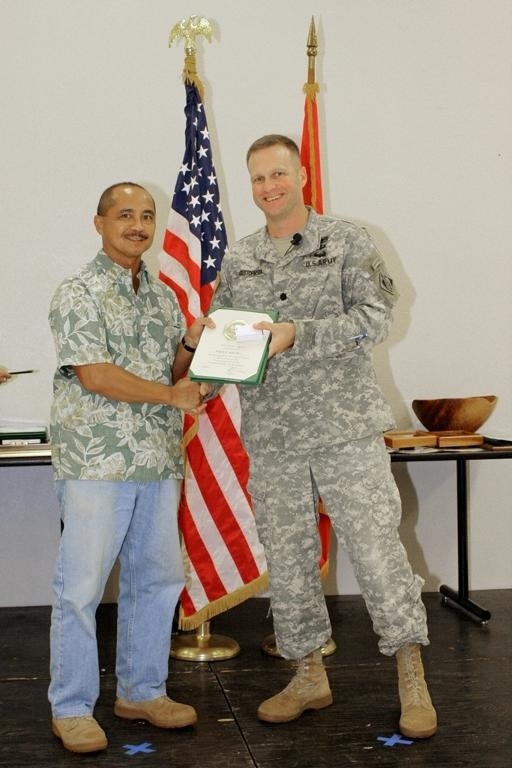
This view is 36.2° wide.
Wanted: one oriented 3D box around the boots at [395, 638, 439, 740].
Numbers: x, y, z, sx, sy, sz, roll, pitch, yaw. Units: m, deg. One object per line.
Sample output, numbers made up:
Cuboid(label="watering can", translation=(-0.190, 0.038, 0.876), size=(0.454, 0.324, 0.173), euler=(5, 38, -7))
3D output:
Cuboid(label="boots", translation=(0.434, 0.827, 2.143), size=(0.101, 0.241, 0.220), euler=(-4, 9, 11))

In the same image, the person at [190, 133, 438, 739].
Cuboid(label="person", translation=(0.167, 0.134, 2.167), size=(0.542, 1.627, 0.449), euler=(-4, 10, 9))

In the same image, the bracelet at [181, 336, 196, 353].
Cuboid(label="bracelet", translation=(-0.199, -0.106, 2.246), size=(0.048, 0.012, 0.047), euler=(23, -8, 26))

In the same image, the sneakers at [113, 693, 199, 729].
Cuboid(label="sneakers", translation=(-0.280, 0.904, 2.202), size=(0.225, 0.084, 0.079), euler=(0, -8, 14))

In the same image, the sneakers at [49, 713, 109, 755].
Cuboid(label="sneakers", translation=(-0.452, 0.899, 2.027), size=(0.064, 0.062, 0.164), euler=(3, -9, -39))

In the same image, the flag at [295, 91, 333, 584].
Cuboid(label="flag", translation=(0.242, -0.207, 3.074), size=(0.107, 1.978, 0.089), euler=(0, 3, 23))

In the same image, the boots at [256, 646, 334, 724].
Cuboid(label="boots", translation=(0.097, 0.868, 2.284), size=(0.275, 0.225, 0.111), euler=(-2, -2, -25))
